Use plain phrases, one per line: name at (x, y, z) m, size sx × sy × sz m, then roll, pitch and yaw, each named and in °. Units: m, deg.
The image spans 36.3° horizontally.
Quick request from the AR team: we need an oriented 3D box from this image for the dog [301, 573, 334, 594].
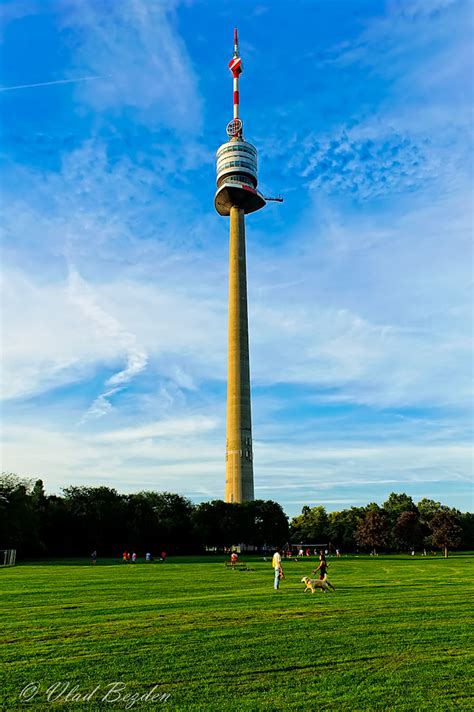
dog at (3.648, 10.445, 32.808) m, size 1.268 × 0.599 × 1.967 m, roll -2°, pitch -14°, yaw 7°
